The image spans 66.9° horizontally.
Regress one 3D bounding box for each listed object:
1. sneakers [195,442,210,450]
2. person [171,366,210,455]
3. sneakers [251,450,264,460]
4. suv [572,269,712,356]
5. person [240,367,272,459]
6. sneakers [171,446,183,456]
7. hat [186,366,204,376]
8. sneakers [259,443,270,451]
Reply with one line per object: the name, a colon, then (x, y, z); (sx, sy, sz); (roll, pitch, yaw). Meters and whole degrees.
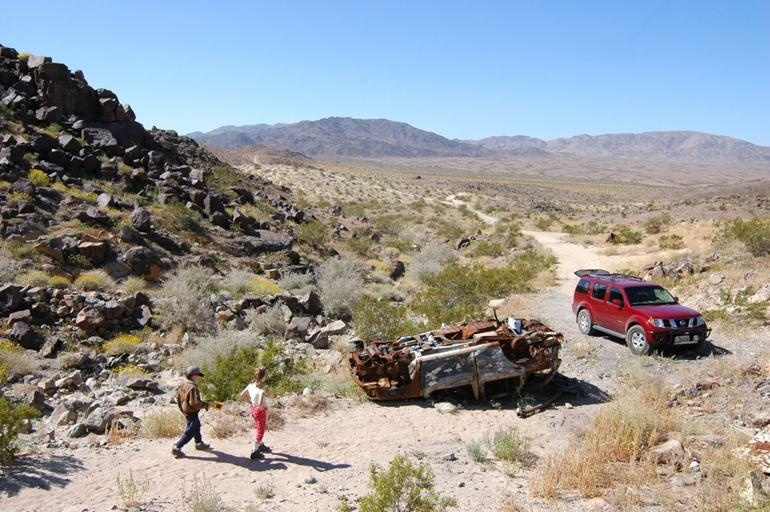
sneakers: (-4.986, 5.224, 16.041); (0.367, 0.181, 0.186); (-2, 13, -16)
person: (-5.410, 4.195, 16.304); (0.955, 2.279, 1.350); (0, 5, -19)
sneakers: (-3.437, 5.362, 15.882); (0.370, 0.241, 0.220); (-1, 5, -35)
suv: (8.985, 1.974, 21.141); (2.314, 2.067, 4.283); (-2, 5, -21)
person: (-3.527, 4.211, 16.330); (0.728, 2.429, 1.235); (1, 5, -12)
sneakers: (-5.535, 5.256, 15.689); (0.180, 0.294, 0.298); (0, 7, -12)
hat: (-5.287, 3.207, 16.259); (0.381, 0.197, 0.258); (-5, 11, -31)
sneakers: (-3.279, 5.269, 16.098); (0.119, 0.158, 0.269); (-42, -40, 23)
